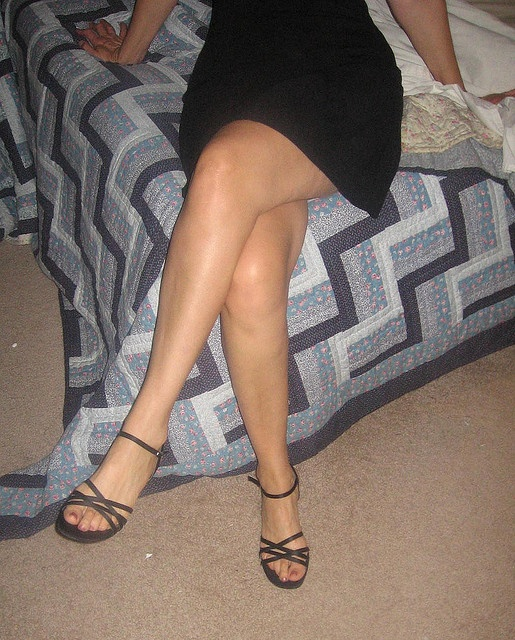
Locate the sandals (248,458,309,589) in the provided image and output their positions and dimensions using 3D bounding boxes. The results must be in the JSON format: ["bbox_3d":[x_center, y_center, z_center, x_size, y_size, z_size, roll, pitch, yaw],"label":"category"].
[{"bbox_3d":[0.031,0.294,0.827,0.056,0.062,0.156,-4,44,-2],"label":"sandals"}]

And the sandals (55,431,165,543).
[{"bbox_3d":[-0.184,0.212,0.750,0.186,0.081,0.032,-56,12,-19],"label":"sandals"}]
